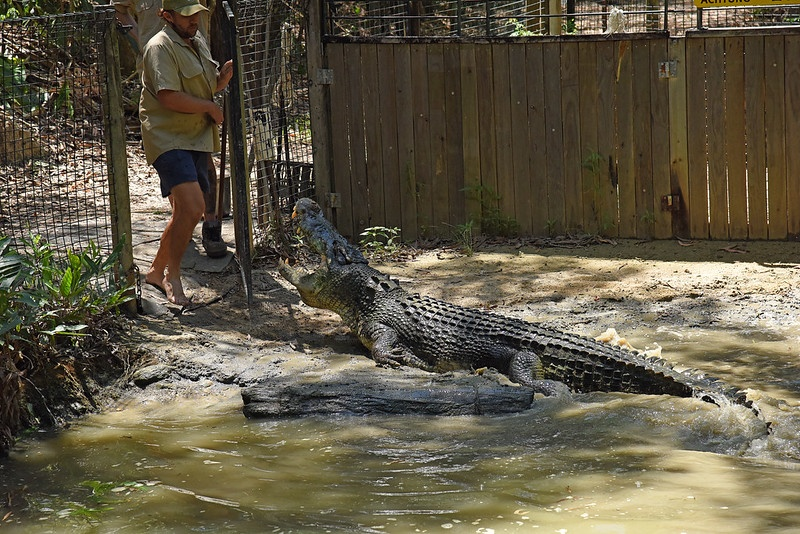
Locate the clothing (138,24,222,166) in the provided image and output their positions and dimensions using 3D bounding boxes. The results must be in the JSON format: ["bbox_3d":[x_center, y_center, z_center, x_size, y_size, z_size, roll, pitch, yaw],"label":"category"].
[{"bbox_3d":[-2.114,-1.605,10.197,0.714,1.280,1.176,3,18,12],"label":"clothing"}]

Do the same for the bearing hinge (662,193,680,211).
[{"bbox_3d":[3.150,-0.754,12.479,0.268,0.268,0.158,3,12,18],"label":"bearing hinge"}]

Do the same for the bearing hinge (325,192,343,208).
[{"bbox_3d":[-0.802,-0.783,12.739,0.178,0.175,0.029,2,17,0],"label":"bearing hinge"}]

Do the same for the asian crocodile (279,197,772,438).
[{"bbox_3d":[0.852,0.652,10.217,3.847,1.309,1.569,13,-24,20],"label":"asian crocodile"}]

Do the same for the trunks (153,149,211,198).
[{"bbox_3d":[-2.087,-0.928,10.362,0.320,0.430,0.563,-18,-20,26],"label":"trunks"}]

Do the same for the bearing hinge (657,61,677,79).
[{"bbox_3d":[3.063,-2.214,12.226,0.193,0.187,0.081,1,-2,2],"label":"bearing hinge"}]

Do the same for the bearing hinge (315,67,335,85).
[{"bbox_3d":[-0.891,-2.196,12.530,0.194,0.183,0.046,-4,11,-18],"label":"bearing hinge"}]
